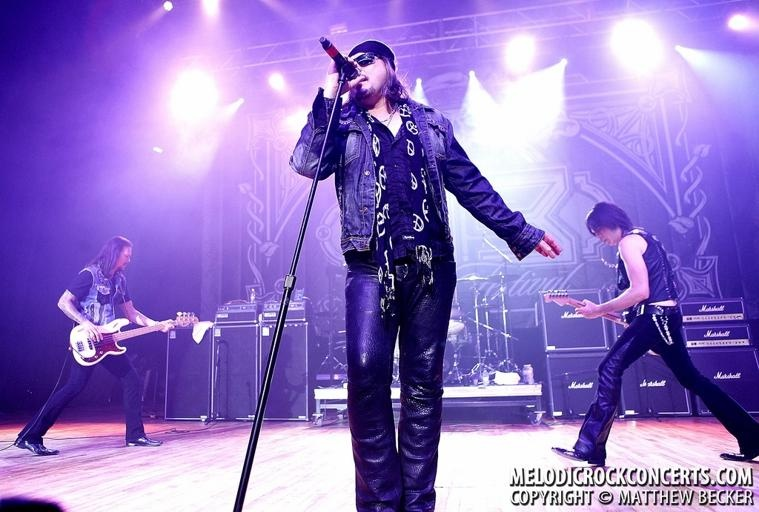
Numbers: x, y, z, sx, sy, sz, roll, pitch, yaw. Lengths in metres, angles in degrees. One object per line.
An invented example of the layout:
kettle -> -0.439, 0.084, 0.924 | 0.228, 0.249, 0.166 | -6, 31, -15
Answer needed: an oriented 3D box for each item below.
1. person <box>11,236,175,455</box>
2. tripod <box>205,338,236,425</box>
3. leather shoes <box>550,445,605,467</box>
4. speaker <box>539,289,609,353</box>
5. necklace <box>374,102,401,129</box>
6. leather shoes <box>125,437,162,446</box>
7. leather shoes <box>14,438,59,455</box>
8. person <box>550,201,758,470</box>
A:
person -> -3.161, 0.926, 5.955 | 1.267, 2.386, 0.567 | 5, -13, -23
tripod -> -2.187, 1.635, 7.355 | 0.327, 1.253, 0.121 | 2, -12, -13
leather shoes -> 1.798, 1.789, 4.840 | 0.410, 0.181, 0.145 | 13, -11, 35
speaker -> 2.429, 0.824, 6.557 | 0.838, 0.881, 0.512 | 0, 0, 9
necklace -> 0.064, -0.973, 3.767 | 0.166, 0.127, 0.162 | -3, -4, -38
leather shoes -> -2.563, 2.004, 5.749 | 0.402, 0.101, 0.094 | -3, -12, 10
leather shoes -> -3.579, 1.987, 5.510 | 0.326, 0.146, 0.122 | 15, -16, 1
person -> 2.469, 0.679, 4.924 | 1.510, 2.385, 0.526 | 0, -12, -3
